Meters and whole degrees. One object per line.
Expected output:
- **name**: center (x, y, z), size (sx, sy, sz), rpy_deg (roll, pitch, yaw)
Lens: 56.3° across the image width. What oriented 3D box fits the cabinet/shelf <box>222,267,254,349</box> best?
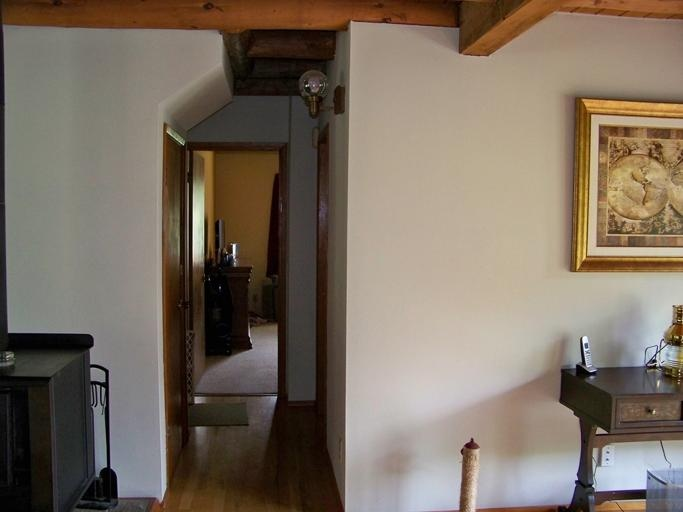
- **cabinet/shelf**: center (-1.248, 0.607, 7.549), size (0.364, 1.031, 0.856), rpy_deg (-2, 5, -7)
